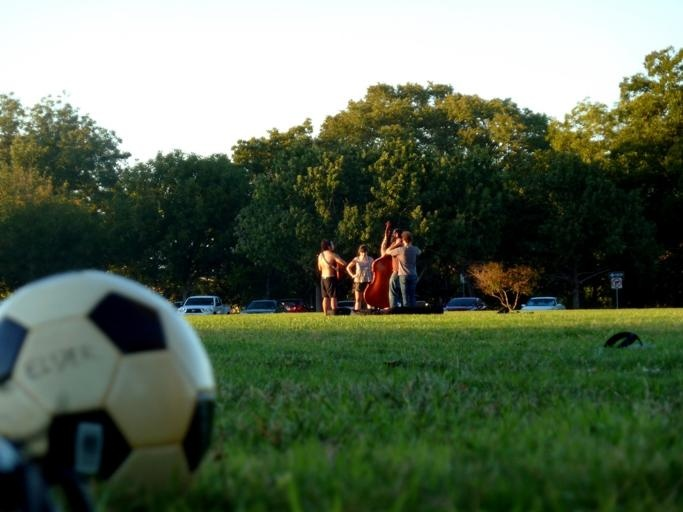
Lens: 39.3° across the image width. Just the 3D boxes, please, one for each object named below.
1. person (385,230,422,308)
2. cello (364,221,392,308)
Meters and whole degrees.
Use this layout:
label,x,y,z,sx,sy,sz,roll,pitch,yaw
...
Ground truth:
label,x,y,z,sx,sy,sz,roll,pitch,yaw
person,1.077,0.307,16.586,0.411,1.458,0.556,1,-2,-45
cello,0.702,0.210,18.169,0.471,1.586,0.582,-1,-1,25
